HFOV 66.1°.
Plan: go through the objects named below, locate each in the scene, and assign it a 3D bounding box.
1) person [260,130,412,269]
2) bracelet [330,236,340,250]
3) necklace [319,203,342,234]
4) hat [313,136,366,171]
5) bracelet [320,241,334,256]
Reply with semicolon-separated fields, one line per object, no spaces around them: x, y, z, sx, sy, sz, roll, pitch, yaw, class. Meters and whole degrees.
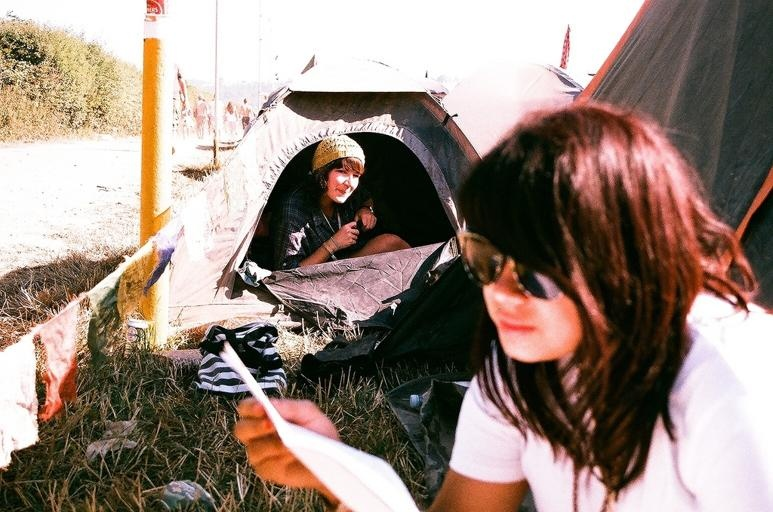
-0.393;-0.391;4.392;0.671;0.804;0.598;33;51;26;person
-0.362;-0.083;4.179;0.019;0.071;0.073;-15;16;-11;bracelet
-0.401;-0.264;4.326;0.123;0.179;0.117;-10;2;-15;necklace
-0.355;-0.740;4.108;0.265;0.172;0.273;17;27;27;hat
-0.413;-0.049;4.164;0.021;0.091;0.078;-10;4;14;bracelet
